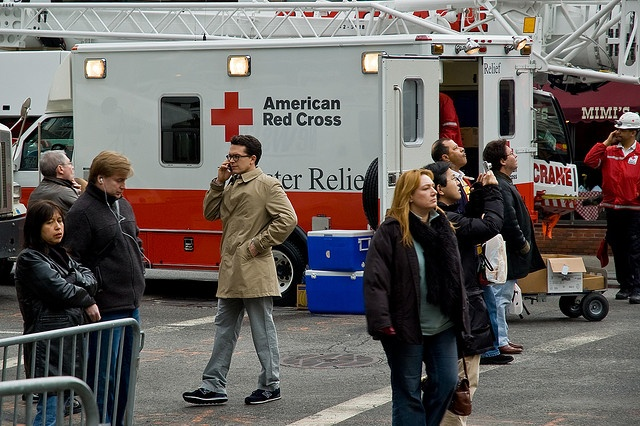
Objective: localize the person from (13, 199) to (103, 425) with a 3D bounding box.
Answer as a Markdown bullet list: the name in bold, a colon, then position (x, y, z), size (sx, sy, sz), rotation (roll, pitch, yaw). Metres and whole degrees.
- **person**: position (-2.313, 0.903, 8.513), size (0.725, 1.929, 1.316), rotation (-3, 7, -17)

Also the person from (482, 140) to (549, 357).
- **person**: position (2.337, 0.409, 11.786), size (0.802, 2.493, 0.878), rotation (0, 5, 12)

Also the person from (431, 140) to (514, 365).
- **person**: position (1.697, 0.410, 10.950), size (0.966, 2.602, 1.077), rotation (1, -1, -1)

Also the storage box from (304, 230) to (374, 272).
- **storage box**: position (0.232, 0.507, 13.385), size (0.882, 0.636, 0.689), rotation (0, -3, 8)

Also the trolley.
- **trolley**: position (3.286, 1.120, 13.181), size (1.144, 0.582, 0.732), rotation (-2, 3, -9)

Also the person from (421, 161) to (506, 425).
- **person**: position (1.390, 0.717, 9.442), size (0.864, 2.503, 0.938), rotation (1, 0, 5)

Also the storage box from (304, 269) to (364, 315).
- **storage box**: position (0.089, 1.215, 13.982), size (1.071, 0.587, 1.037), rotation (4, -16, -28)

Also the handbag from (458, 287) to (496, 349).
- **handbag**: position (1.489, 1.014, 9.461), size (0.339, 0.645, 0.483), rotation (-3, 2, -12)

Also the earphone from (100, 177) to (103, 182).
- **earphone**: position (-2.079, -0.308, 9.112), size (0.028, 0.041, 0.013), rotation (5, 5, -4)

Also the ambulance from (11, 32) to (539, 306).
- **ambulance**: position (-0.540, -0.927, 14.930), size (6.430, 3.228, 3.782), rotation (3, 5, 22)

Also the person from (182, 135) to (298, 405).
- **person**: position (-0.915, 0.583, 10.406), size (1.210, 2.779, 1.039), rotation (-1, 1, -36)
